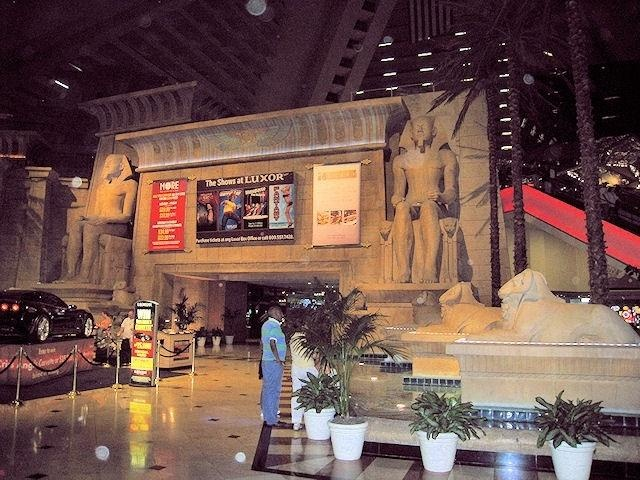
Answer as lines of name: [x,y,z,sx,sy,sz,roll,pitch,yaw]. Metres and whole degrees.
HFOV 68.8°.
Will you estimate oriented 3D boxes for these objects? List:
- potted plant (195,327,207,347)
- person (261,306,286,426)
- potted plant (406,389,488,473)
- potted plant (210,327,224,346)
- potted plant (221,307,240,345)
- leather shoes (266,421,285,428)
potted plant: [-4.712,3.951,18.623,0.387,0.690,1.611,4,-9,-13]
person: [-0.697,1.870,6.912,0.370,1.727,0.556,3,-10,-6]
potted plant: [1.416,2.117,5.393,0.766,0.722,0.864,0,-6,38]
potted plant: [-4.442,4.104,19.646,0.679,0.701,0.676,-2,-4,14]
potted plant: [-3.997,3.845,20.737,0.623,1.514,0.864,1,-10,6]
leather shoes: [-0.646,2.716,6.811,0.257,0.104,0.086,-4,-6,5]
